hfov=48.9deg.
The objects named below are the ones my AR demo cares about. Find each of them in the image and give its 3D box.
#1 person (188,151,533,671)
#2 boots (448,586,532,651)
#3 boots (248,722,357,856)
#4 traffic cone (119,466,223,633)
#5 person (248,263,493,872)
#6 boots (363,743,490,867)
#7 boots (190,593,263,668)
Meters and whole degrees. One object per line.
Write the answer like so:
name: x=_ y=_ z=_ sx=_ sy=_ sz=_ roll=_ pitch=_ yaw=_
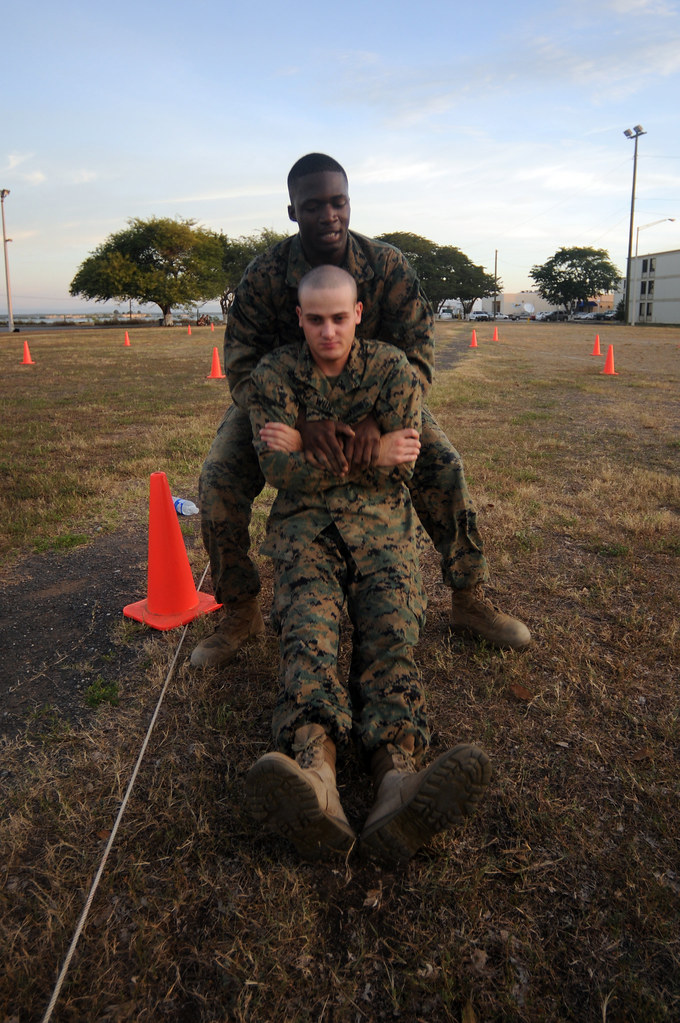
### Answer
person: x=0.073 y=-0.418 z=3.124 sx=1.405 sy=2.127 sz=1.130 roll=-1 pitch=19 yaw=-5
boots: x=0.599 y=0.384 z=3.085 sx=0.385 sy=0.269 sz=0.164 roll=10 pitch=34 yaw=24
boots: x=-0.088 y=0.671 z=1.838 sx=0.240 sy=0.387 sz=0.337 roll=-1 pitch=16 yaw=-2
traffic cone: x=-0.792 y=0.159 z=3.373 sx=0.526 sy=0.603 sz=0.527 roll=-7 pitch=8 yaw=-25
person: x=0.036 y=0.061 z=2.330 sx=0.537 sy=0.706 sz=1.801 roll=2 pitch=38 yaw=-5
boots: x=0.206 y=0.710 z=1.783 sx=0.104 sy=0.289 sz=0.212 roll=35 pitch=9 yaw=-22
boots: x=-0.470 y=0.460 z=3.054 sx=0.379 sy=0.257 sz=0.137 roll=-23 pitch=23 yaw=-39
